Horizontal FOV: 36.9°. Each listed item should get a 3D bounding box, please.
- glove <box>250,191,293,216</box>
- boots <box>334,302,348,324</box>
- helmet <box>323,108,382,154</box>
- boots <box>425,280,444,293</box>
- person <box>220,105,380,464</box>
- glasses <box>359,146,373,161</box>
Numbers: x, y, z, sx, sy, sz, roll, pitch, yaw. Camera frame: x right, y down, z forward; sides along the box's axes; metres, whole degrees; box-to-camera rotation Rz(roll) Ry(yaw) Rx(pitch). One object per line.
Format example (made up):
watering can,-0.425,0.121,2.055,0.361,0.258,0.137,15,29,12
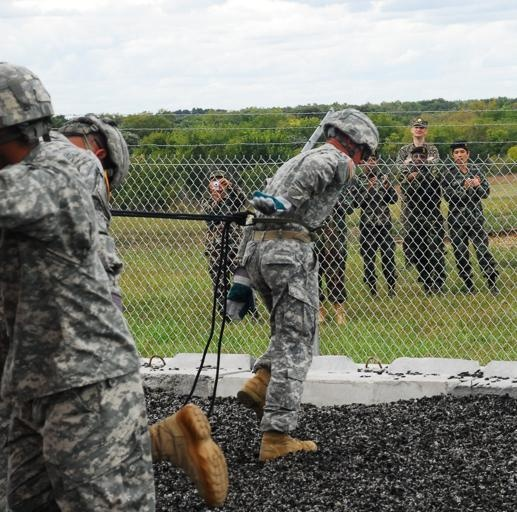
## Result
glove,0.065,-0.237,3.609,0.181,0.055,0.105,9,-15,-20
boots,0.752,0.525,7.120,0.090,0.205,0.165,-4,13,5
helmet,0.465,-0.657,4.019,0.293,0.195,0.197,19,6,-27
boots,1.790,0.328,7.880,0.216,0.092,0.203,3,-1,-21
person,0.150,0.139,3.815,0.689,1.713,1.018,-2,9,23
glasses,0.566,-0.541,4.089,0.056,0.061,0.050,-2,29,11
